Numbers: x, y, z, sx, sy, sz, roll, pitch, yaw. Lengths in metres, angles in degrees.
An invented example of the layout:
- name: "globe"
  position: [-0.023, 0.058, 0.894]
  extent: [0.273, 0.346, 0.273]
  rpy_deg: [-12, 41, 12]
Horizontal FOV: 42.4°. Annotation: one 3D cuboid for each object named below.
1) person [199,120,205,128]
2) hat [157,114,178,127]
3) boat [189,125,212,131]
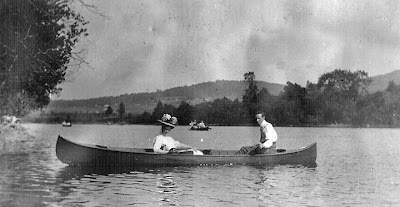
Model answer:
- name: "person"
  position: [0.352, 3.626, 88.809]
  extent: [1.231, 1.729, 0.986]
  rpy_deg: [-2, -33, 4]
- name: "hat"
  position: [-2.466, 1.317, 41.470]
  extent: [1.121, 0.477, 1.135]
  rpy_deg: [18, 5, 16]
- name: "boat"
  position: [-0.136, 4.205, 88.809]
  extent: [5.962, 1.053, 1.210]
  rpy_deg: [-5, -5, 39]
